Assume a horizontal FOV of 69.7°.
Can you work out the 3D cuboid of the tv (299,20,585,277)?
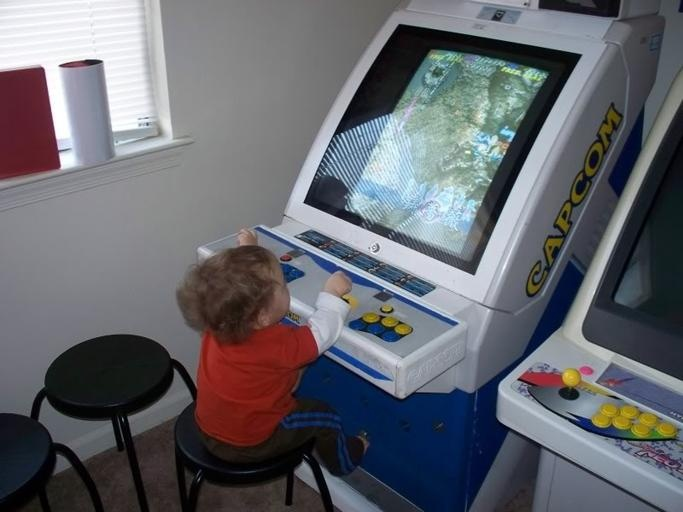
[{"bbox_3d":[0.317,-0.327,1.515,0.781,0.734,0.196,27,3,36],"label":"tv"}]
